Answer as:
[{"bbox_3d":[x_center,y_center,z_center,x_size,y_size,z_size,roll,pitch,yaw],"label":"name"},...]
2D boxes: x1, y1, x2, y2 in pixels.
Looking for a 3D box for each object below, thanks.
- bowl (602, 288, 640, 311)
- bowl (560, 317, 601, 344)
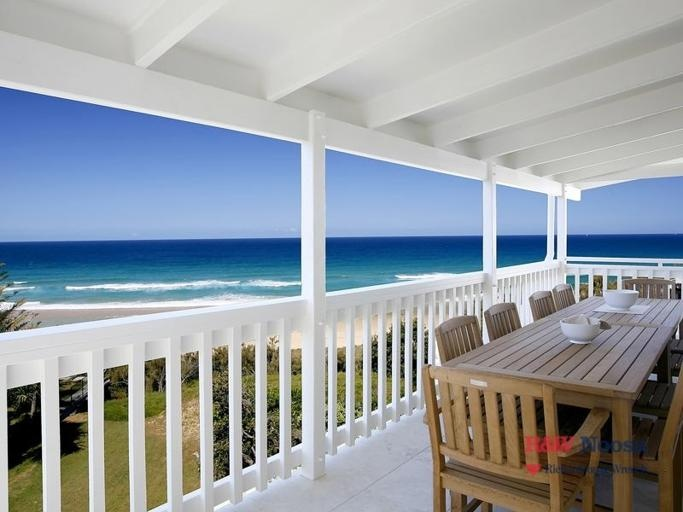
[{"bbox_3d":[2.298,0.352,3.871,0.197,0.117,0.201,-1,-1,0],"label":"bowl"},{"bbox_3d":[1.485,0.452,2.966,0.193,0.129,0.219,2,-4,-26],"label":"bowl"}]
